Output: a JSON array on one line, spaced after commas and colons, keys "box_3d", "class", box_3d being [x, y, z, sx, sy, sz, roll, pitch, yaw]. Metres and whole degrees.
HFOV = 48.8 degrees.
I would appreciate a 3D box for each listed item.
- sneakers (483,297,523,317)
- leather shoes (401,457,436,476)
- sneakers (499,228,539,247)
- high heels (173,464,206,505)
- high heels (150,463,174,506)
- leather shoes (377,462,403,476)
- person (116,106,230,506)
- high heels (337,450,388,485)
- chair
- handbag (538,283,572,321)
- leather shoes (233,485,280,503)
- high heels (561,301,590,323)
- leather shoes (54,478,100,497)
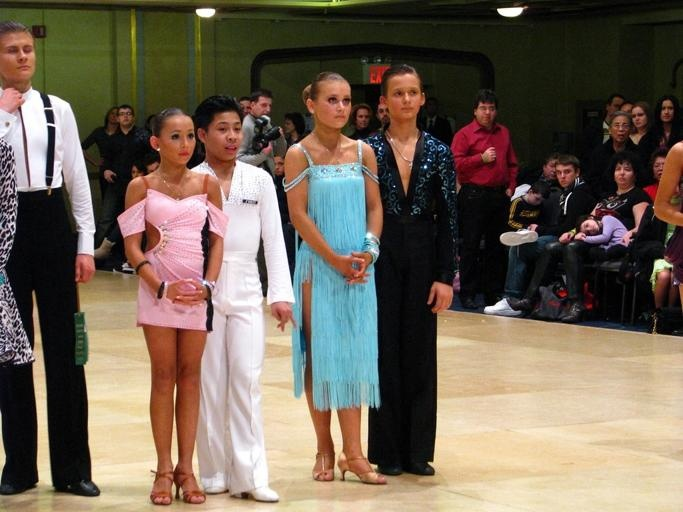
[{"box_3d": [2.001, 0.620, 9.231, 0.444, 0.221, 0.187, 4, -4, 10], "class": "sneakers"}, {"box_3d": [0.414, 1.122, 4.012, 0.072, 0.085, 0.200, 1, -5, -37], "class": "leather shoes"}, {"box_3d": [2.165, -0.223, 9.172, 0.450, 0.206, 0.187, 2, 12, -9], "class": "sneakers"}, {"box_3d": [-0.725, 1.077, 3.593, 0.086, 0.137, 0.244, -1, -1, -33], "class": "high heels"}, {"box_3d": [-0.835, 1.068, 3.490, 0.066, 0.100, 0.224, -1, 1, -7], "class": "high heels"}, {"box_3d": [0.262, 1.130, 4.021, 0.052, 0.062, 0.137, 4, -7, -43], "class": "leather shoes"}, {"box_3d": [-0.810, 0.224, 3.571, 0.502, 1.835, 0.392, 0, 5, -7], "class": "person"}, {"box_3d": [0.100, 1.096, 3.944, 0.305, 0.174, 0.108, -1, -2, 27], "class": "high heels"}, {"box_3d": [3.043, 0.387, 8.643, 0.827, 0.785, 1.110, 10, -11, -32], "class": "chair"}, {"box_3d": [2.524, 0.546, 8.790, 0.348, 0.448, 0.235, -2, -25, 40], "class": "handbag"}, {"box_3d": [-0.407, 1.109, 3.592, 0.210, 0.095, 0.081, -3, -1, 16], "class": "leather shoes"}, {"box_3d": [2.695, 0.642, 8.684, 0.253, 0.230, 0.158, 2, 5, 13], "class": "high heels"}, {"box_3d": [-1.288, 1.123, 3.719, 0.248, 0.106, 0.089, -2, 1, 12], "class": "leather shoes"}]
